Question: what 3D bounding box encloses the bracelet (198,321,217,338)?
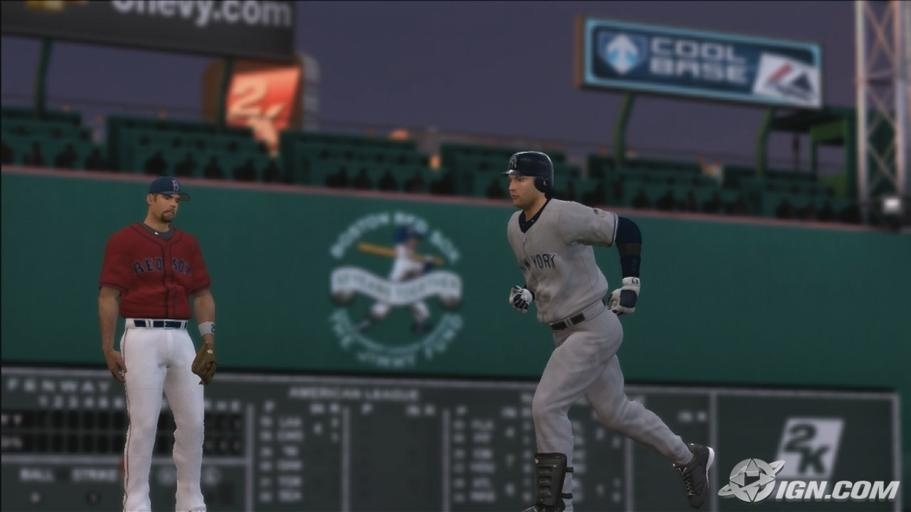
[{"bbox_3d":[-2.873,0.872,23.259,0.204,0.154,0.201,-4,-6,19],"label":"bracelet"}]
